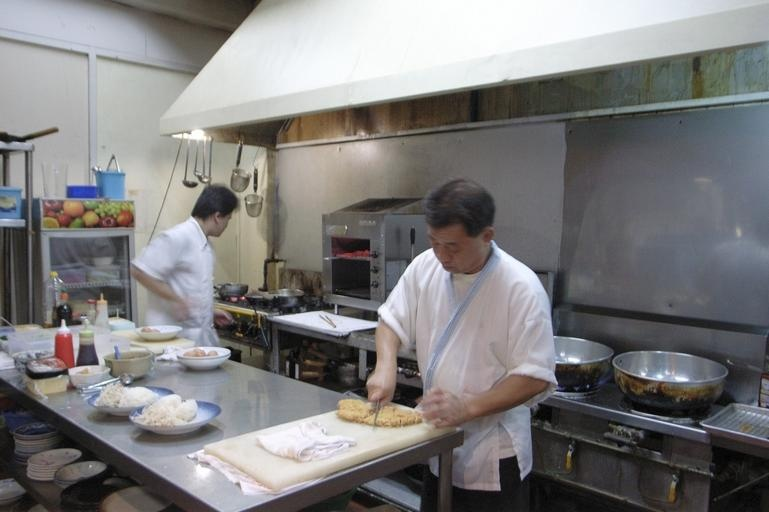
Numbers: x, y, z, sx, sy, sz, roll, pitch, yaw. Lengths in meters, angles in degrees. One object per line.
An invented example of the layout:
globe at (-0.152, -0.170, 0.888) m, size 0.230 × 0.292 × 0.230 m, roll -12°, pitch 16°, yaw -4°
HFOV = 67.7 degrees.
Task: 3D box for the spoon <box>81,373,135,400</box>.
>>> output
spoon at (-1.429, 0.660, 2.940) m, size 0.274 × 0.075 × 0.090 m, roll -18°, pitch 27°, yaw -26°

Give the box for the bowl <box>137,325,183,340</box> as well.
bowl at (-1.453, 0.485, 3.671) m, size 0.217 × 0.074 × 0.258 m, roll -7°, pitch 15°, yaw -39°

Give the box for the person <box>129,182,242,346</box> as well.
person at (-1.439, 0.089, 4.164) m, size 0.699 × 1.203 × 0.296 m, roll 0°, pitch 13°, yaw -11°

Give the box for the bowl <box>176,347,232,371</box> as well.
bowl at (-1.034, 0.581, 3.279) m, size 0.282 × 0.099 × 0.259 m, roll 2°, pitch 12°, yaw 0°

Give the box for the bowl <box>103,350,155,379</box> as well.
bowl at (-1.342, 0.572, 3.069) m, size 0.165 × 0.094 × 0.181 m, roll 0°, pitch -5°, yaw 0°

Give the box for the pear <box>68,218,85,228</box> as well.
pear at (-2.568, -0.277, 4.777) m, size 0.084 × 0.122 × 0.076 m, roll 4°, pitch -4°, yaw -4°

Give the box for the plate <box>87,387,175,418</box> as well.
plate at (-1.179, 0.695, 2.717) m, size 0.206 × 0.050 × 0.214 m, roll 2°, pitch 4°, yaw 11°

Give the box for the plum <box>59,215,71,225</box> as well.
plum at (-2.629, -0.299, 4.708) m, size 0.067 × 0.068 × 0.065 m, roll 38°, pitch 30°, yaw 3°

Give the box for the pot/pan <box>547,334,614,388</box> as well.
pot/pan at (1.220, 0.658, 3.490) m, size 0.388 × 0.166 × 0.380 m, roll 3°, pitch -1°, yaw -8°

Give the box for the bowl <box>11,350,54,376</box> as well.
bowl at (-1.956, 0.577, 3.163) m, size 0.141 × 0.065 × 0.143 m, roll 1°, pitch -4°, yaw 0°

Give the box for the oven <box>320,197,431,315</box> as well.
oven at (-0.070, -0.041, 4.716) m, size 0.863 × 0.844 × 0.583 m, roll 6°, pitch 7°, yaw 44°

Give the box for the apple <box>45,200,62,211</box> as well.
apple at (-2.695, -0.424, 4.651) m, size 0.030 × 0.089 × 0.137 m, roll 12°, pitch 15°, yaw 38°

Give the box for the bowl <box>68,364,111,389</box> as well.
bowl at (-1.521, 0.611, 2.948) m, size 0.134 × 0.057 × 0.135 m, roll 2°, pitch 4°, yaw 0°

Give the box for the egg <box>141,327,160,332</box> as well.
egg at (-1.480, 0.466, 3.624) m, size 0.054 × 0.018 × 0.051 m, roll -5°, pitch -1°, yaw 36°

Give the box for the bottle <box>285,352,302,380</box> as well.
bottle at (-0.744, 0.893, 4.691) m, size 0.123 × 0.185 × 0.180 m, roll -1°, pitch 12°, yaw -13°

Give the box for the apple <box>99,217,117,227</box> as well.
apple at (-2.375, -0.299, 4.921) m, size 0.091 × 0.089 × 0.088 m, roll 46°, pitch -16°, yaw -27°

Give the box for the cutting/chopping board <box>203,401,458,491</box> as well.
cutting/chopping board at (-0.253, 0.782, 2.428) m, size 0.924 × 0.094 × 0.409 m, roll -5°, pitch 14°, yaw -30°
